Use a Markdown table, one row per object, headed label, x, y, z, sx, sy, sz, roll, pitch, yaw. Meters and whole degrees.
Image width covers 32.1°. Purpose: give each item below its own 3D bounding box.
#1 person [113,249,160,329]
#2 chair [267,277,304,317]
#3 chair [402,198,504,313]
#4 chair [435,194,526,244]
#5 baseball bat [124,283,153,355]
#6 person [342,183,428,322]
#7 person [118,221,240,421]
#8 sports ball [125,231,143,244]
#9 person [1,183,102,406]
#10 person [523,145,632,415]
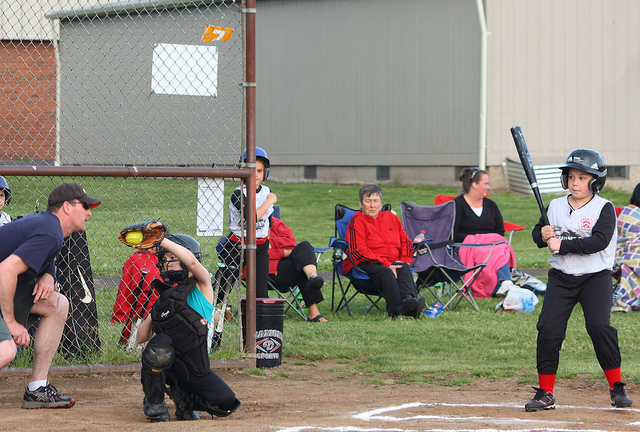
| label | x | y | z | sx | sy | sz | roll | pitch | yaw |
| --- | --- | --- | --- | --- | --- | --- | --- | --- | --- |
| person | -2.188 | 0.859 | 13.788 | 0.582 | 0.323 | 0.958 | -8 | 39 | -8 |
| chair | -0.529 | 1.050 | 15.835 | 0.401 | 0.710 | 0.496 | -1 | -22 | 0 |
| chair | 1.917 | 0.674 | 16.375 | 0.997 | 1.355 | 1.045 | 13 | 20 | 28 |
| chair | 2.582 | 0.090 | 18.012 | 0.951 | 1.458 | 0.976 | 0 | -1 | -32 |
| baseball bat | -2.174 | 1.252 | 13.320 | 0.147 | 0.981 | 0.132 | -15 | -42 | 42 |
| person | 0.883 | 0.509 | 15.906 | 1.208 | 1.831 | 0.690 | 2 | 5 | 20 |
| person | -1.568 | 1.140 | 12.245 | 1.114 | 2.203 | 0.507 | -1 | 5 | -9 |
| sports ball | -2.001 | 0.232 | 11.893 | 0.142 | 0.136 | 0.120 | 3 | -19 | 2 |
| person | -3.093 | 0.870 | 12.468 | 0.970 | 2.467 | 0.570 | -1 | 5 | -13 |
| person | 2.942 | 0.720 | 12.582 | 1.048 | 2.892 | 0.761 | 1 | 5 | 9 |
